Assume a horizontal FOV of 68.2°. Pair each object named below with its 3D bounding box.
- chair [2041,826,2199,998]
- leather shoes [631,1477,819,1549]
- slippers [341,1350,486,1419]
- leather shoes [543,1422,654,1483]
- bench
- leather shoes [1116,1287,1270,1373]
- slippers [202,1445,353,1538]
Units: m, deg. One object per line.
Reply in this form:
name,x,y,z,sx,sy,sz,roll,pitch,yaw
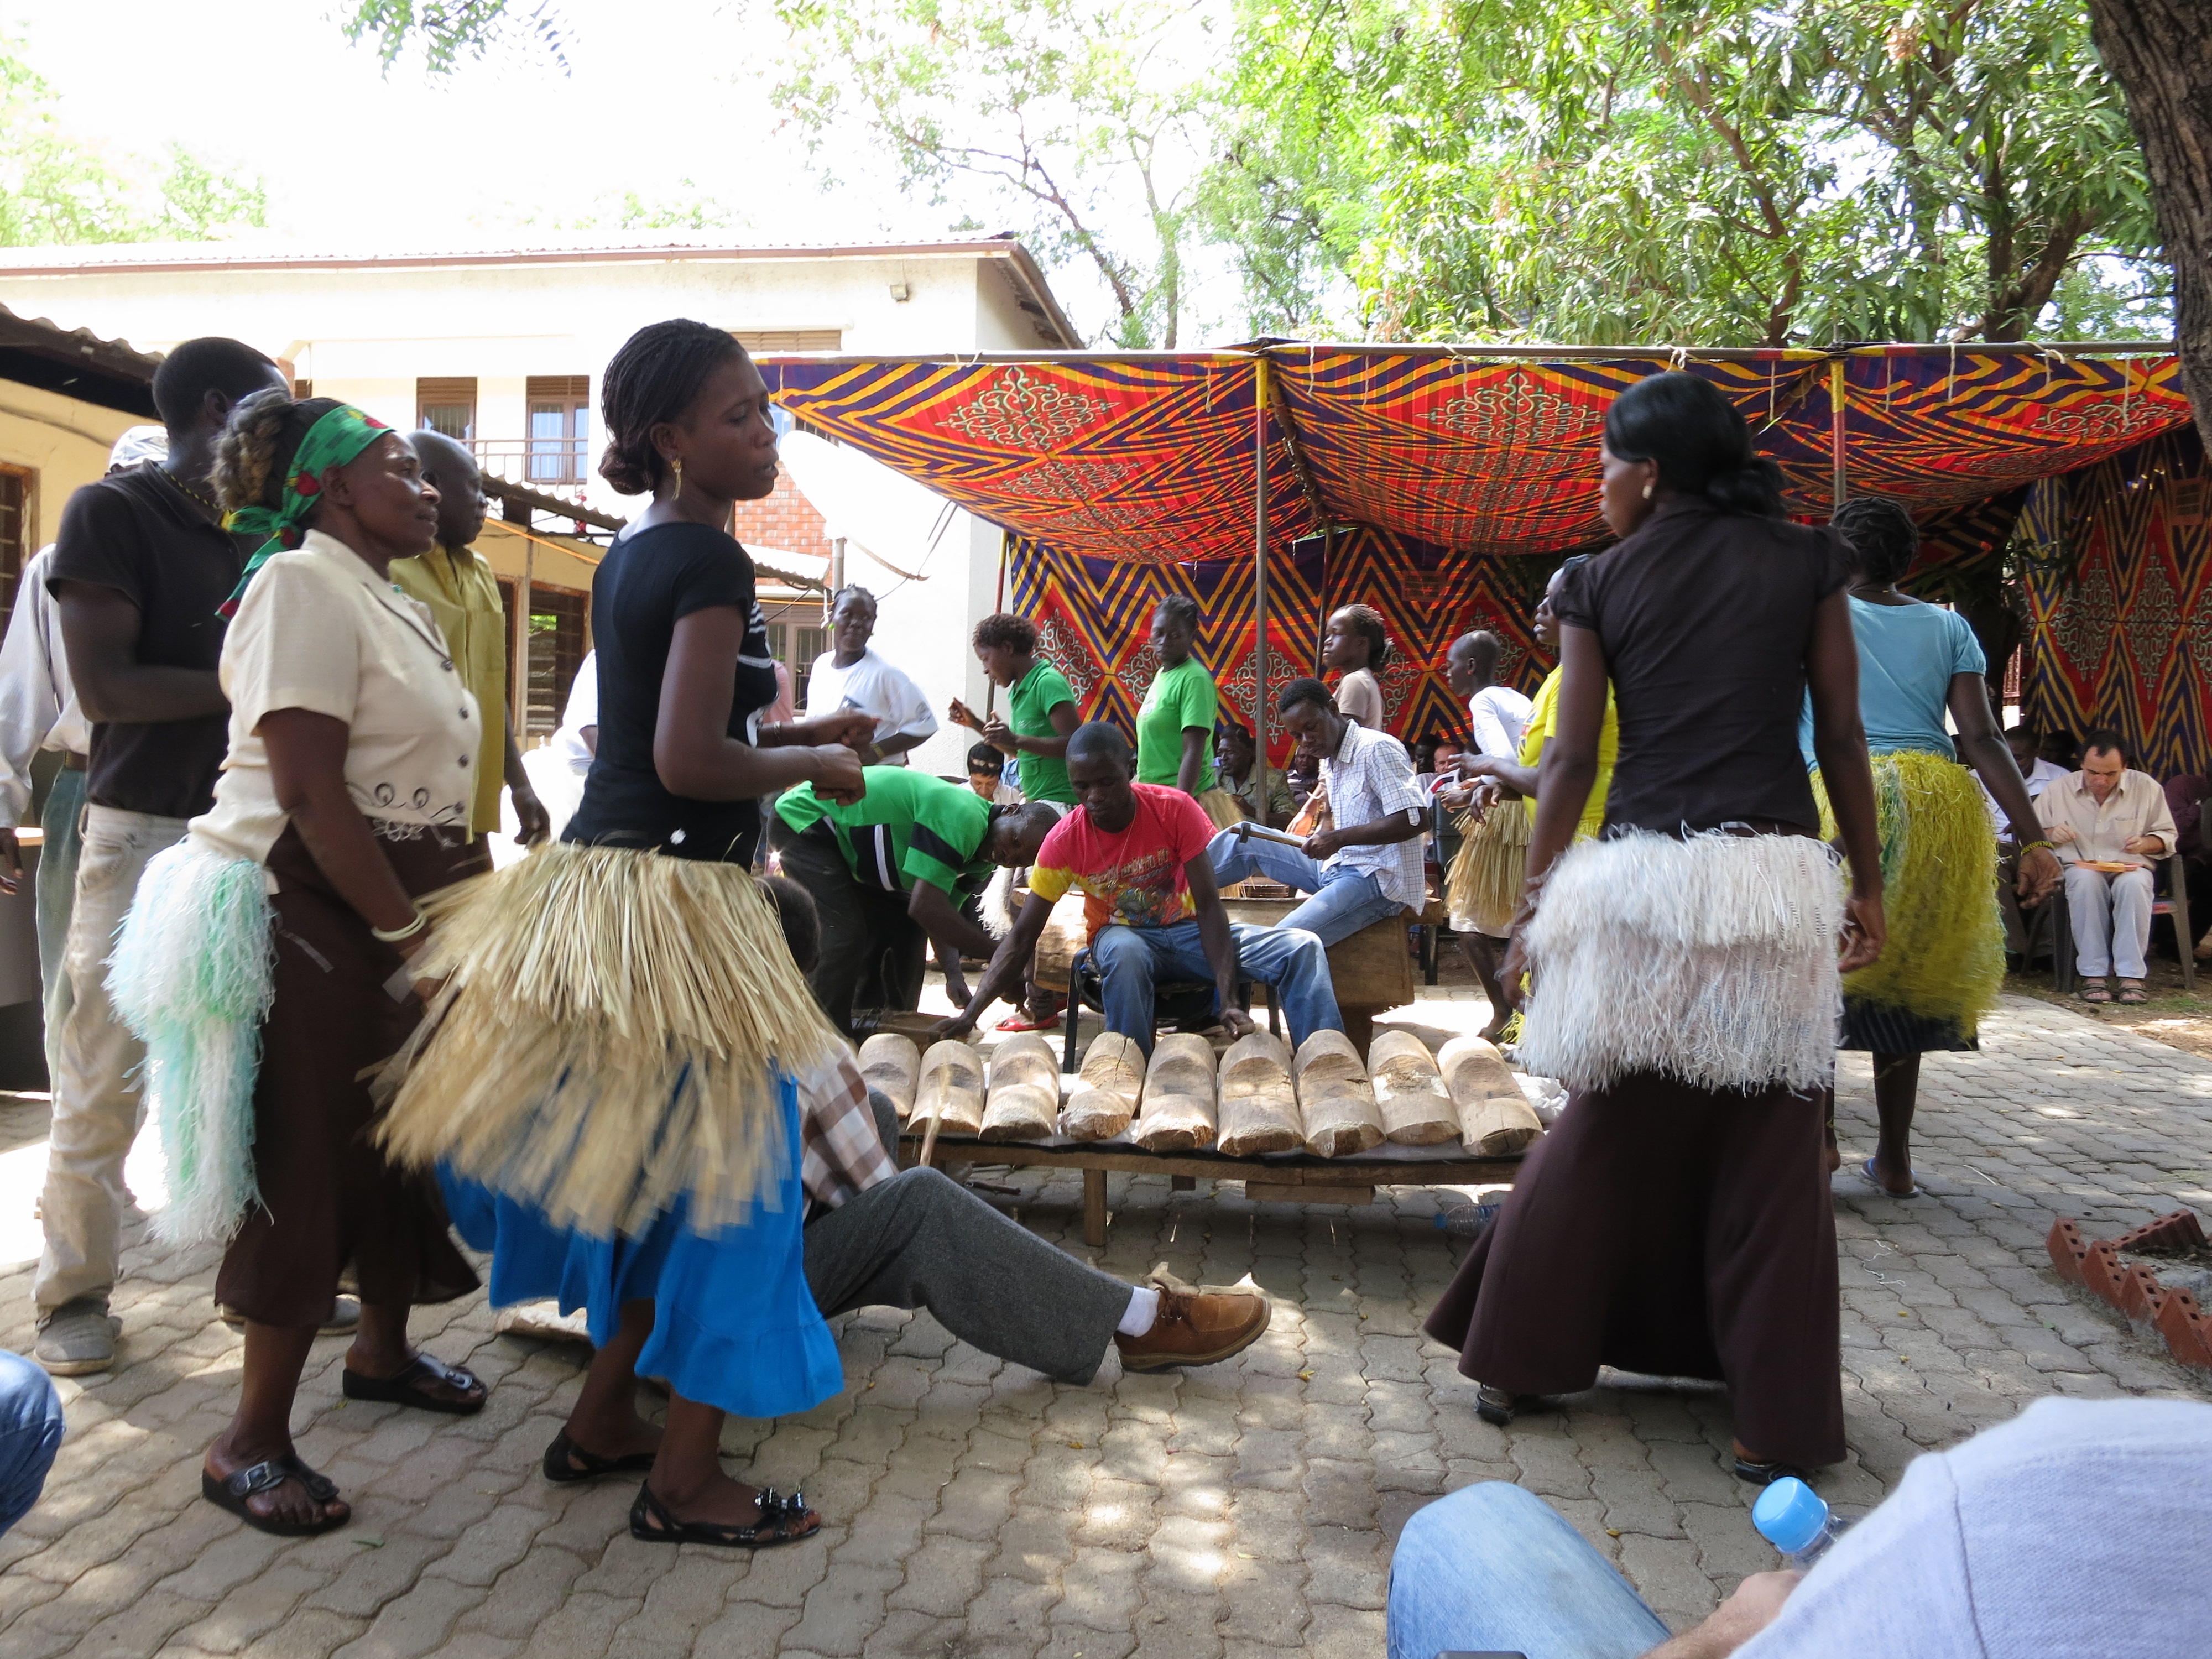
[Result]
chair,5.211,0.245,8.477,0.618,1.055,0.697,1,11,40
leather shoes,-0.669,1.213,2.939,0.340,0.095,0.120,0,-1,-8
slippers,-1.428,1.158,3.391,0.313,0.106,0.116,3,0,1
leather shoes,-0.976,1.203,3.144,0.253,0.086,0.091,2,0,-39
bench,0.378,0.481,5.583,0.711,0.452,0.764,-1,8,-9
leather shoes,0.201,1.083,3.622,0.341,0.146,0.163,-11,24,7
slippers,-1.475,1.183,2.904,0.253,0.088,0.122,6,11,16
